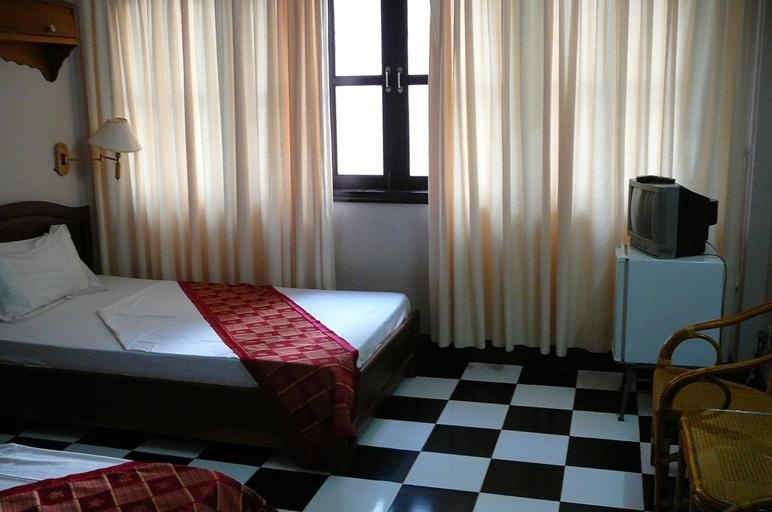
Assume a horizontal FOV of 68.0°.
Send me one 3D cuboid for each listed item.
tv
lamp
[{"bbox_3d":[1.896,-0.285,4.066,0.569,0.558,0.548,2,14,-12],"label":"tv"},{"bbox_3d":[-2.572,-0.938,5.057,0.743,0.572,0.525,8,22,0],"label":"lamp"}]
